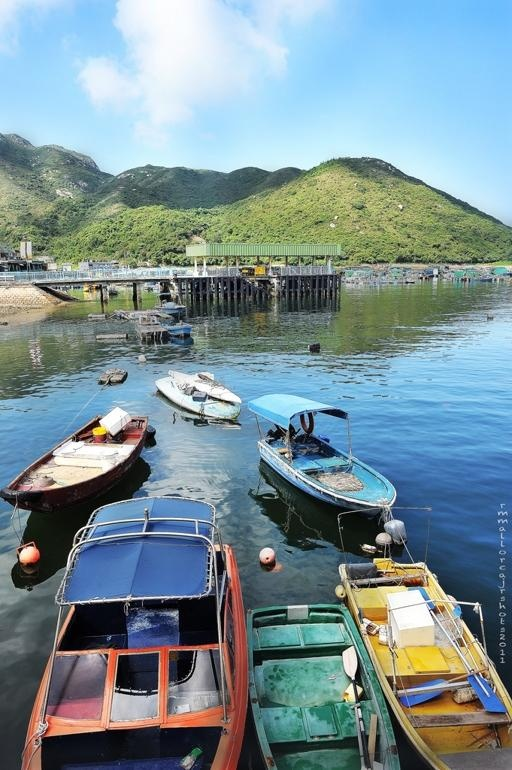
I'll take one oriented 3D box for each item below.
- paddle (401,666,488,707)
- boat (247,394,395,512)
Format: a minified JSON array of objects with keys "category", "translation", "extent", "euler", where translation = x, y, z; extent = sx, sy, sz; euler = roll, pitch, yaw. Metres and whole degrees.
[{"category":"paddle","translation":[3.053,5.264,9.635],"extent":[1.637,0.401,0.510],"euler":[-5,31,-17]},{"category":"boat","translation":[2.239,2.163,18.752],"extent":[2.177,2.331,6.602],"euler":[-13,18,-21]}]
